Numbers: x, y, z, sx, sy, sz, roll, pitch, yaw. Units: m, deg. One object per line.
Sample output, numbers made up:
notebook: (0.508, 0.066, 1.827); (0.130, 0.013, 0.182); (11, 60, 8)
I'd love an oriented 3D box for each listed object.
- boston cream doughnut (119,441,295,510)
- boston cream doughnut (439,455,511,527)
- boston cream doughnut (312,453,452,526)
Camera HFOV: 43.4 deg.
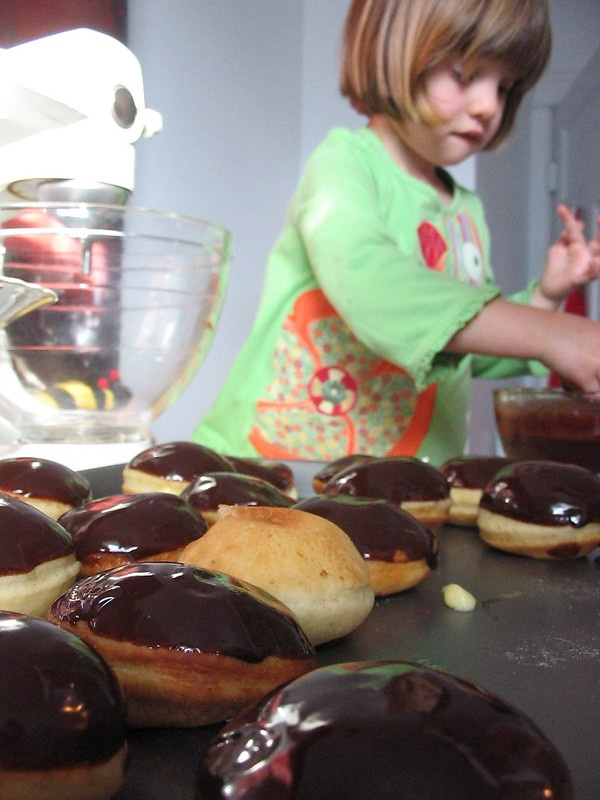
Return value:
boston cream doughnut: (-0.059, 0.053, 0.460); (0.076, 0.019, 0.052); (11, -11, -34)
boston cream doughnut: (0.109, 0.056, 0.470); (0.049, 0.029, 0.046); (0, -5, 20)
boston cream doughnut: (0.037, 0.052, 0.428); (0.051, 0.023, 0.049); (-4, -5, 19)
